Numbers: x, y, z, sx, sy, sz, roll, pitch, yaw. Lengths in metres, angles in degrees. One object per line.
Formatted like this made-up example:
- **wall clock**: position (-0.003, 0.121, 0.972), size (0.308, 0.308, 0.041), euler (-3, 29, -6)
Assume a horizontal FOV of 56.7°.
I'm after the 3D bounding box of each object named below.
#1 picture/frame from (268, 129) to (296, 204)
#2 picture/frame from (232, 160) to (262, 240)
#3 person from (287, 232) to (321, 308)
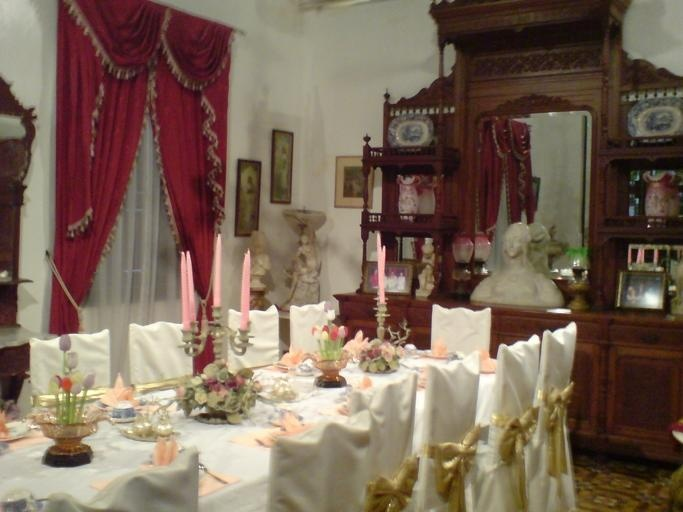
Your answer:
- **picture/frame**: position (-0.591, -0.881, 6.362), size (0.111, 0.728, 0.318), euler (0, -2, 34)
- **picture/frame**: position (-0.890, -0.547, 6.081), size (0.099, 0.740, 0.327), euler (0, -2, 35)
- **person**: position (-0.374, 0.129, 6.238), size (0.348, 0.855, 0.226), euler (-1, 36, -5)
